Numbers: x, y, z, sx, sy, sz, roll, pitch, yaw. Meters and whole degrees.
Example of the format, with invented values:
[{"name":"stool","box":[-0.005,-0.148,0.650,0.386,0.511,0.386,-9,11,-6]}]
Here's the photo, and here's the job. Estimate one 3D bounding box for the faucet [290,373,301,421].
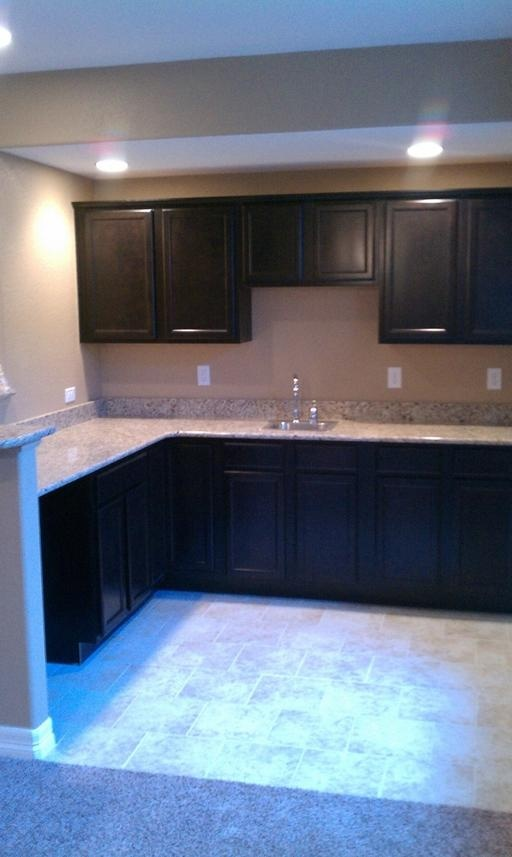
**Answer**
[{"name":"faucet","box":[0.222,-0.173,3.628,0.054,0.267,0.089,-1,2,3]}]
